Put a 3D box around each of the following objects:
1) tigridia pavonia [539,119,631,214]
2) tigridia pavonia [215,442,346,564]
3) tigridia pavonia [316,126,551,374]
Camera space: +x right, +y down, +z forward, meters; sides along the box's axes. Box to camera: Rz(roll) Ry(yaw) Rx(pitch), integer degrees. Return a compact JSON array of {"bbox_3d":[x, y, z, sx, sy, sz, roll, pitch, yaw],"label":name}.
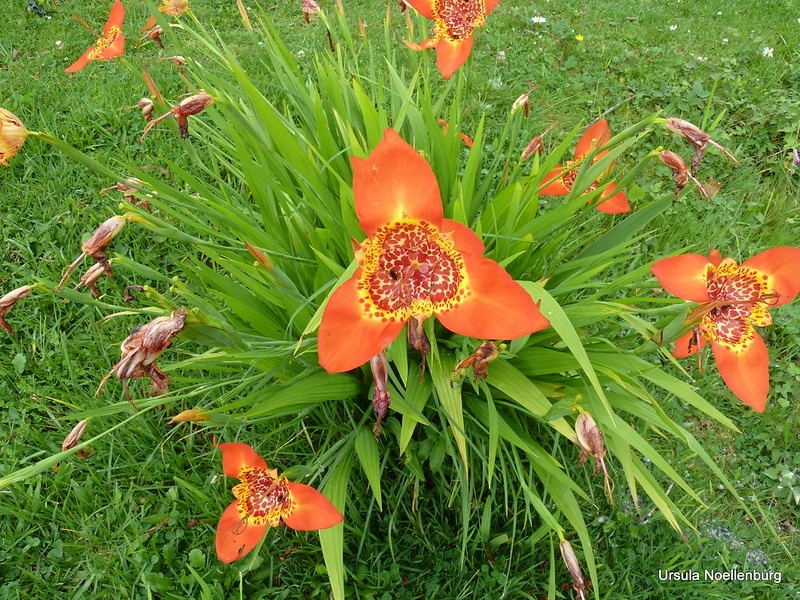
[{"bbox_3d":[0.837,-0.534,2.789,0.169,0.484,0.346,30,74,16],"label":"tigridia pavonia"},{"bbox_3d":[-0.449,0.794,2.549,0.486,0.133,0.469,-35,85,15],"label":"tigridia pavonia"},{"bbox_3d":[0.047,-0.166,1.940,0.652,0.320,0.624,-7,67,-3],"label":"tigridia pavonia"}]
